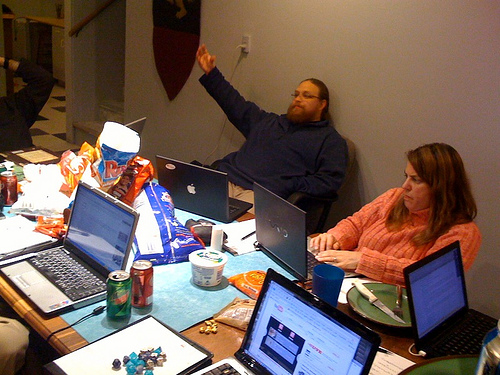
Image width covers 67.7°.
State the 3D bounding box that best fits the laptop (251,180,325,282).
[{"bbox_3d":[0.244,0.208,1.895,0.333,0.335,0.456,-12,21,-36],"label":"laptop"}]

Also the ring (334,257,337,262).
[{"bbox_3d":[0.420,0.365,1.865,0.011,0.013,0.017,-1,2,-12],"label":"ring"}]

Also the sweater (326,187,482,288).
[{"bbox_3d":[0.785,0.268,2.041,0.626,0.278,0.590,-24,31,-22],"label":"sweater"}]

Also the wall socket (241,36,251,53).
[{"bbox_3d":[-0.040,-1.382,3.607,0.110,0.161,0.018,20,25,30],"label":"wall socket"}]

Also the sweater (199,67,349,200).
[{"bbox_3d":[0.190,-0.529,3.439,1.606,1.186,0.862,14,4,36],"label":"sweater"}]

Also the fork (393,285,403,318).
[{"bbox_3d":[0.603,0.470,1.526,0.028,0.024,0.204,5,24,11],"label":"fork"}]

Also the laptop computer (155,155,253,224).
[{"bbox_3d":[-0.281,-0.009,2.368,0.546,0.354,0.320,10,13,31],"label":"laptop computer"}]
